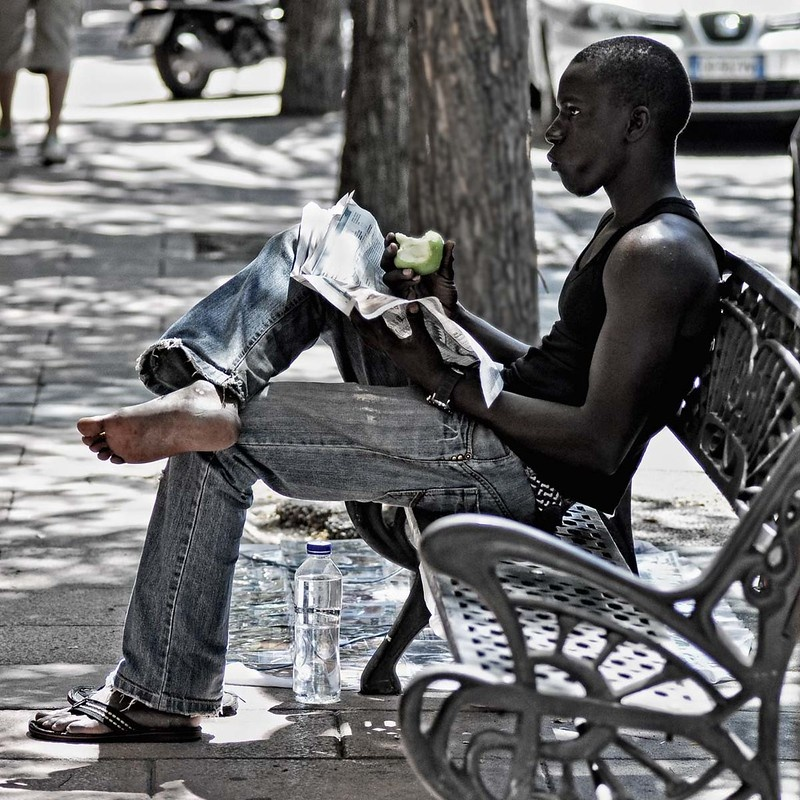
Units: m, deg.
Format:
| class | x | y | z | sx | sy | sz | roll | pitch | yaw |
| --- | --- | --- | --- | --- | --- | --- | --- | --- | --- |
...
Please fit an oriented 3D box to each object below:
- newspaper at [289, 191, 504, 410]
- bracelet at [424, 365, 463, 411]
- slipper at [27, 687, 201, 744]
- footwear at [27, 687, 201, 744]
| class | x | y | z | sx | sy | sz | roll | pitch | yaw |
| --- | --- | --- | --- | --- | --- | --- | --- | --- | --- |
| newspaper | -0.075 | -0.304 | 4.482 | 0.601 | 0.234 | 0.578 | 19 | -6 | 13 |
| bracelet | 0.104 | -0.027 | 4.317 | 0.049 | 0.080 | 0.078 | 38 | 41 | 12 |
| slipper | -0.721 | 0.814 | 4.375 | 0.407 | 0.107 | 0.150 | 4 | -6 | -4 |
| footwear | -0.721 | 0.812 | 4.375 | 0.407 | 0.107 | 0.150 | 4 | -6 | -4 |
